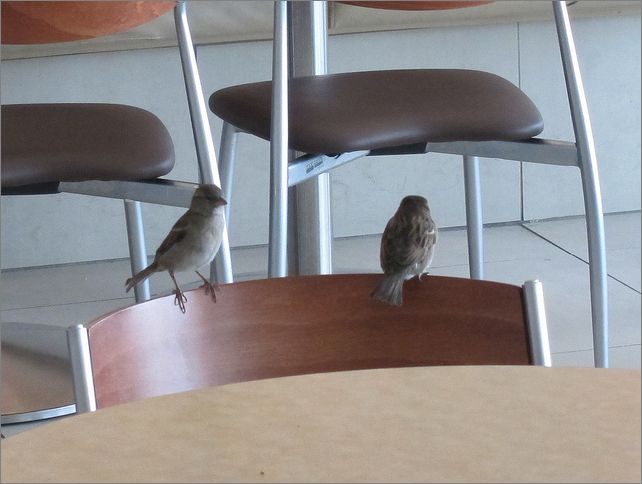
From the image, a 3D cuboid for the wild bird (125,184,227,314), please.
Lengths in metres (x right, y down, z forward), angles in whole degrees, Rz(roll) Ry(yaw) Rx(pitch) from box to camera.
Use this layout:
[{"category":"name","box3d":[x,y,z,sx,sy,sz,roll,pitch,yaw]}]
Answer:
[{"category":"wild bird","box3d":[-0.216,-0.002,1.379,0.165,0.202,0.095,12,15,30]}]

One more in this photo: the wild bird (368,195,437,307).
[{"category":"wild bird","box3d":[0.130,0.017,1.422,0.072,0.124,0.206,5,30,19]}]
